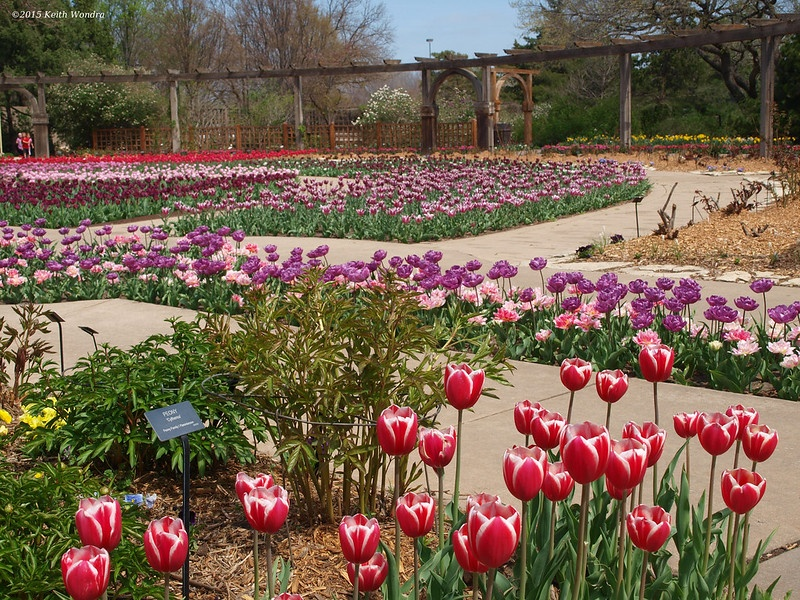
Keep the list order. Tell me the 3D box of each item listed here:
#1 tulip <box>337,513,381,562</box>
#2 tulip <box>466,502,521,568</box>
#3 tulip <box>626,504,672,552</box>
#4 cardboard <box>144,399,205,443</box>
[{"bbox_3d":[-0.110,0.672,2.205,0.101,0.168,0.108,-2,5,2],"label":"tulip"},{"bbox_3d":[0.234,0.580,2.050,0.133,0.182,0.146,4,9,29],"label":"tulip"},{"bbox_3d":[0.701,0.667,2.267,0.115,0.162,0.088,-1,6,17],"label":"tulip"},{"bbox_3d":[-0.687,0.388,2.499,0.111,0.106,0.204,0,7,27],"label":"cardboard"}]
